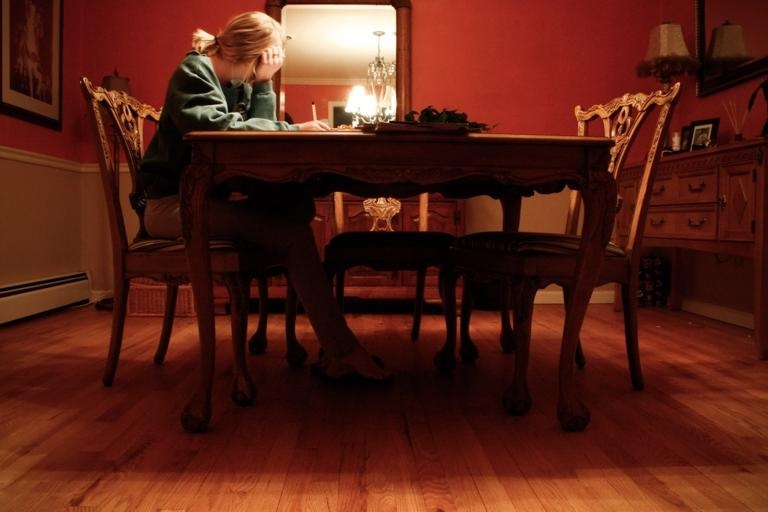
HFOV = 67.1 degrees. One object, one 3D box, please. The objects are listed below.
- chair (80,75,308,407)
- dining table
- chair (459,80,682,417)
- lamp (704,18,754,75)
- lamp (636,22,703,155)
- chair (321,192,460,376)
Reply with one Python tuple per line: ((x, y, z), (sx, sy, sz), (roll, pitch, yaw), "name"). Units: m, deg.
((-0.934, -0.094, 2.877), (0.925, 1.379, 0.875), (2, 1, 11), "chair")
((0.038, 0.111, 2.688), (1.700, 1.292, 0.878), (-1, 4, -8), "dining table")
((0.820, -0.084, 2.802), (0.856, 1.417, 0.939), (1, 3, -3), "chair")
((2.352, -1.420, 3.971), (0.256, 0.314, 0.256), (-14, 20, -31), "lamp")
((2.008, -1.244, 4.124), (0.423, 0.797, 0.413), (1, 5, 44), "lamp")
((-0.006, -0.073, 3.233), (0.596, 0.994, 0.661), (1, -15, -2), "chair")
